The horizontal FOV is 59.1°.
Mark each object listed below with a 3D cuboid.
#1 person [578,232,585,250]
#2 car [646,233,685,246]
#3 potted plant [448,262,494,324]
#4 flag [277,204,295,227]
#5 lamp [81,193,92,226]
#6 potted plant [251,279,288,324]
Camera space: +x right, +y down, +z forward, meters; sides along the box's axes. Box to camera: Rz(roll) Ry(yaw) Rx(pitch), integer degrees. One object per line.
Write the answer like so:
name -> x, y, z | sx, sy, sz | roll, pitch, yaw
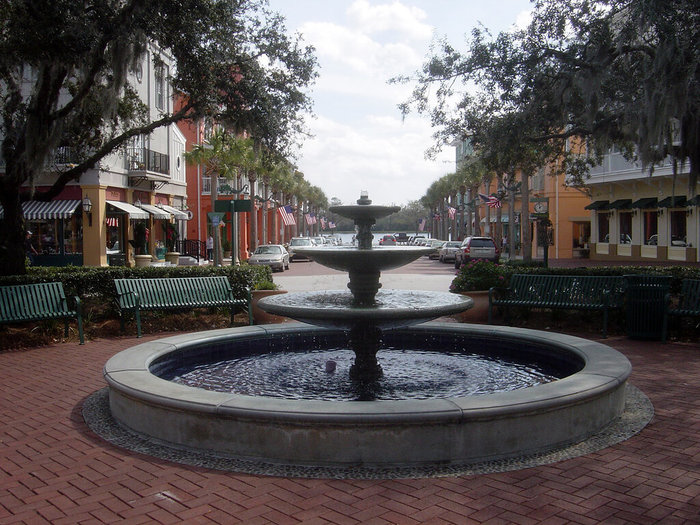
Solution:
person -> 19.195, -1.875, 51.132 | 0.489, 1.031, 1.029 | 2, 7, 19
car -> 18.696, -1.399, 36.583 | 0.807, 0.636, 1.815 | 0, -2, -9
potted plant -> 3.212, 0.733, 16.161 | 1.106, 1.347, 2.079 | 1, 7, 12
flag -> -6.782, -5.129, 66.004 | 1.520, 0.741, 2.792 | -13, -42, 7
lamp -> -13.258, -2.653, 31.356 | 0.448, 1.476, 0.948 | -4, 7, -23
potted plant -> -2.137, 0.987, 16.287 | 1.044, 0.852, 1.056 | 0, -2, -2
